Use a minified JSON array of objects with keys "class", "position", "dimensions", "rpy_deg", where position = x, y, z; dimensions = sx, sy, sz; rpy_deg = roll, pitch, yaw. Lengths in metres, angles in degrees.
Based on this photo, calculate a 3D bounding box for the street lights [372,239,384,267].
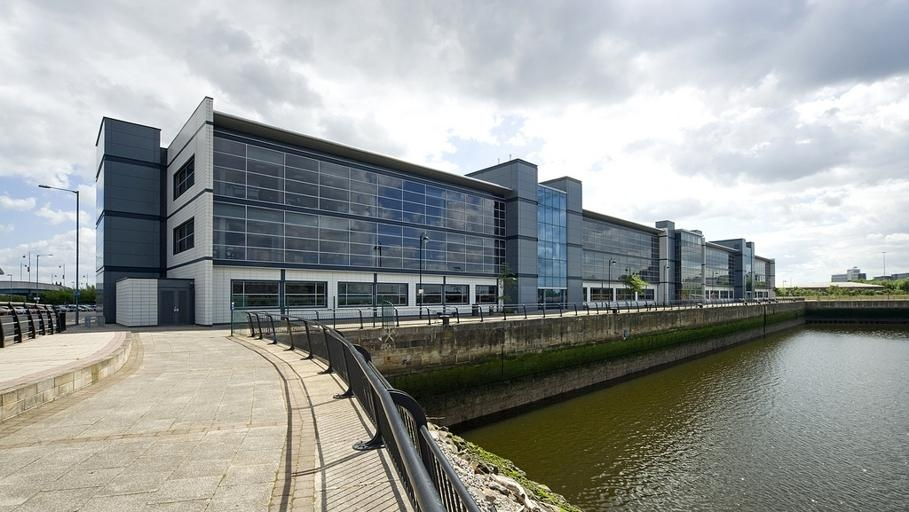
[{"class":"street lights","position":[-7.545,-0.294,47.647],"dimensions":[0.210,2.597,0.872],"rpy_deg":[-11,-9,42]}]
